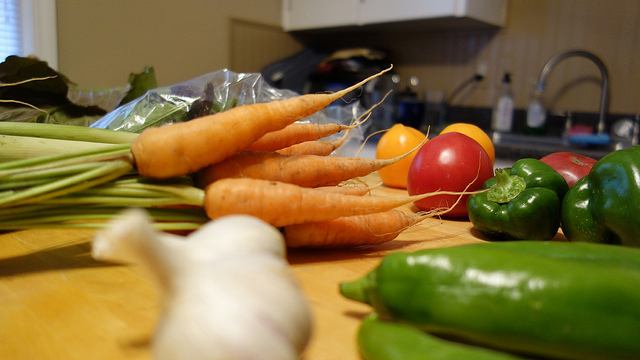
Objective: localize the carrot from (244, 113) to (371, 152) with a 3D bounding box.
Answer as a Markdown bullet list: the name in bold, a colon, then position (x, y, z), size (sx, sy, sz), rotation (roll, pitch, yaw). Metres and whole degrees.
- **carrot**: position (-0.034, -0.138, 1.581), size (0.381, 0.065, 0.071), rotation (-8, 52, 16)

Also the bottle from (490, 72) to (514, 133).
- **bottle**: position (1.129, -0.482, 3.140), size (0.119, 0.360, 0.181), rotation (8, 18, 18)

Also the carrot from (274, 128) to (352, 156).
- **carrot**: position (-0.030, -0.107, 1.620), size (0.294, 0.056, 0.057), rotation (3, 5, -30)

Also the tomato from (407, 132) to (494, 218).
- **tomato**: position (0.403, -0.037, 1.697), size (0.269, 0.299, 0.255), rotation (-7, 5, 12)

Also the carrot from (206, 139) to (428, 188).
- **carrot**: position (0.020, -0.039, 1.497), size (0.523, 0.109, 0.107), rotation (-2, -10, 33)

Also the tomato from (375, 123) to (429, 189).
- **tomato**: position (0.284, -0.103, 1.934), size (0.221, 0.258, 0.217), rotation (9, 9, 26)

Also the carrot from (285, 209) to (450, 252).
- **carrot**: position (0.141, 0.138, 1.520), size (0.535, 0.079, 0.076), rotation (-6, 35, -20)

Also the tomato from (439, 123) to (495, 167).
- **tomato**: position (0.535, -0.140, 1.860), size (0.169, 0.197, 0.173), rotation (-5, -4, -2)

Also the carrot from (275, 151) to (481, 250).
- **carrot**: position (0.293, 0.066, 1.565), size (0.834, 0.186, 0.165), rotation (-8, -8, -6)

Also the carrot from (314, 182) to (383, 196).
- **carrot**: position (0.081, 0.026, 1.573), size (0.241, 0.035, 0.035), rotation (-3, -3, -8)

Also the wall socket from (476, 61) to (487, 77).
- **wall socket**: position (1.051, -0.741, 3.373), size (0.088, 0.082, 0.088), rotation (14, 22, 42)

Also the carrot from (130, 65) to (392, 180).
- **carrot**: position (-0.196, -0.139, 1.539), size (0.936, 0.175, 0.174), rotation (-19, 17, -10)
